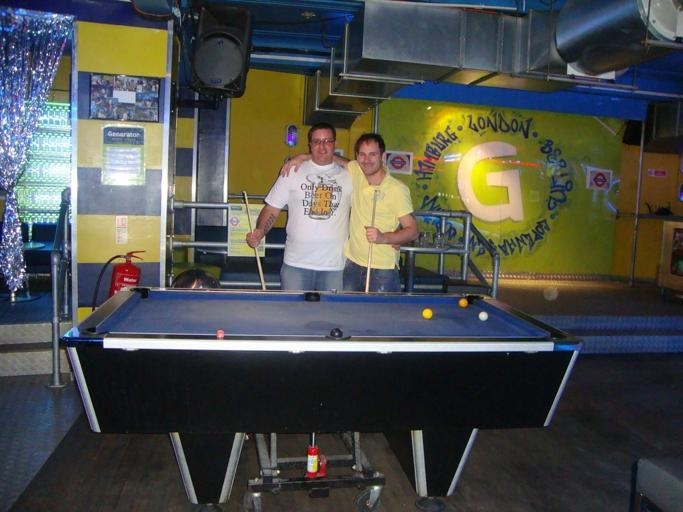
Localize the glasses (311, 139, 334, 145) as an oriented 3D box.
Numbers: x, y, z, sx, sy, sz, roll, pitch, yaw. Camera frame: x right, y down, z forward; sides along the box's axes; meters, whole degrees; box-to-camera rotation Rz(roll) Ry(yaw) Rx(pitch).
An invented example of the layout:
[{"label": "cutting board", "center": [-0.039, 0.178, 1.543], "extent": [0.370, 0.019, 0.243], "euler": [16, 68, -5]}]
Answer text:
[{"label": "glasses", "center": [-0.157, -0.913, 5.063], "extent": [0.182, 0.045, 0.084], "euler": [-1, 11, -11]}]

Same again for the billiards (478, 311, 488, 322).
[{"label": "billiards", "center": [0.921, 0.395, 4.103], "extent": [0.051, 0.055, 0.062], "euler": [0, -21, 8]}]

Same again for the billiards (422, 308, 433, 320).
[{"label": "billiards", "center": [0.552, 0.372, 4.075], "extent": [0.060, 0.065, 0.038], "euler": [22, 25, 18]}]

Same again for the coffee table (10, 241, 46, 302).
[{"label": "coffee table", "center": [-3.667, 0.186, 7.216], "extent": [0.440, 0.783, 0.482], "euler": [2, 11, -18]}]

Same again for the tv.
[{"label": "tv", "center": [-1.887, -1.347, 5.377], "extent": [0.681, 0.385, 0.079], "euler": [0, 11, -5]}]

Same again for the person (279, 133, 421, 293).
[{"label": "person", "center": [0.249, -0.308, 4.951], "extent": [0.645, 2.104, 0.622], "euler": [0, 1, -4]}]

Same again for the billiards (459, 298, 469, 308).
[{"label": "billiards", "center": [0.849, 0.330, 4.379], "extent": [0.057, 0.039, 0.060], "euler": [-3, 3, 0]}]

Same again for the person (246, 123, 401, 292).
[{"label": "person", "center": [-0.299, -0.388, 5.095], "extent": [0.756, 1.346, 0.403], "euler": [1, 11, -2]}]

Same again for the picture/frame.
[{"label": "picture/frame", "center": [-1.853, -1.353, 5.381], "extent": [0.488, 0.421, 0.191], "euler": [3, 9, -25]}]
